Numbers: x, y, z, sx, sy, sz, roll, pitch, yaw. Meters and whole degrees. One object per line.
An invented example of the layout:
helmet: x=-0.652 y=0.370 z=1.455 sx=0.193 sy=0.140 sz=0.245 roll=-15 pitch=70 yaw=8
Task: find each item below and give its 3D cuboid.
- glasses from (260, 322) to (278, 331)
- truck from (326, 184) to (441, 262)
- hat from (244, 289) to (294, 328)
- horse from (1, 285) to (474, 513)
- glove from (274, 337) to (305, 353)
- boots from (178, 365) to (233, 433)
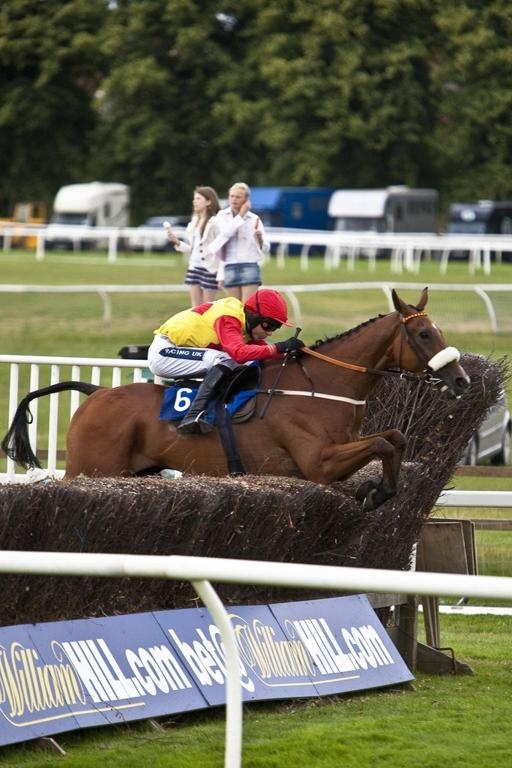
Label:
glasses: x=0.050 y=-0.227 z=4.379 sx=0.038 sy=0.022 sz=0.044 roll=12 pitch=20 yaw=-29
truck: x=2.522 y=-3.235 z=22.794 sx=1.527 sy=1.518 sz=2.217 roll=-5 pitch=13 yaw=-25
hat: x=0.057 y=-0.308 z=4.336 sx=0.189 sy=0.101 sz=0.119 roll=28 pitch=13 yaw=6
horse: x=0.039 y=0.028 z=4.278 sx=1.459 sy=0.807 sz=0.546 roll=2 pitch=-4 yaw=31
glove: x=0.128 y=-0.142 z=4.283 sx=0.097 sy=0.053 sz=0.035 roll=-10 pitch=-36 yaw=-6
boots: x=-0.182 y=0.049 z=4.194 sx=0.126 sy=0.292 sz=0.105 roll=45 pitch=-18 yaw=-14
